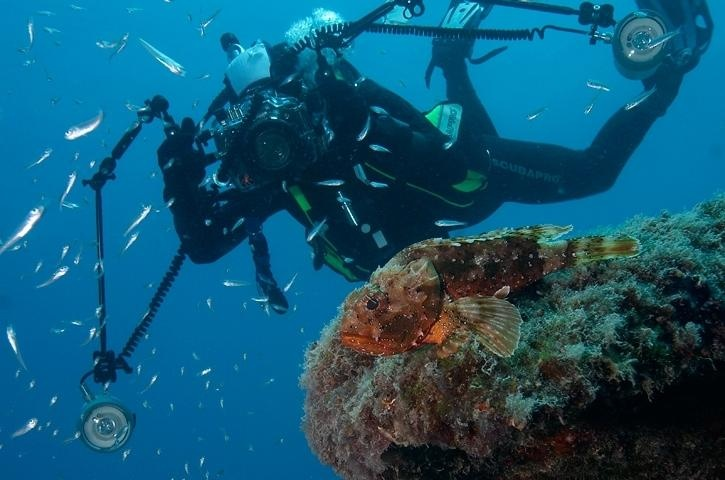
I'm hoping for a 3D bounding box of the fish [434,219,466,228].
[{"bbox_3d":[1.476,-0.252,14.591,0.153,0.217,0.714,-1,-4,38],"label":"fish"}]
